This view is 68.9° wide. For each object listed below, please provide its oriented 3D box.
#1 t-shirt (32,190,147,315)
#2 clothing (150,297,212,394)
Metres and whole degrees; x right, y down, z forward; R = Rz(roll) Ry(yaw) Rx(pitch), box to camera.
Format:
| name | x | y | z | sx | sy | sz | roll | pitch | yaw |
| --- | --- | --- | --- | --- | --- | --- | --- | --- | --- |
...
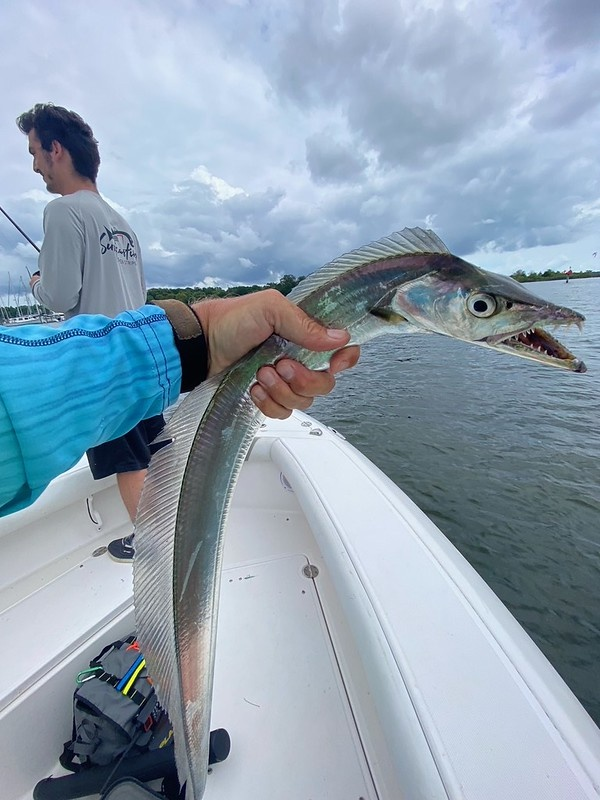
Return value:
| name | x | y | z | sx | sy | sz | roll | pitch | yaw |
| --- | --- | --- | --- | --- | --- | --- | --- | --- | --- |
| t-shirt | -1.186 | -0.743 | 2.504 | 0.562 | 0.757 | 0.636 | 6 | 18 | 19 |
| clothing | -0.339 | -0.176 | 1.397 | 0.139 | 0.256 | 0.215 | -19 | 28 | -38 |
